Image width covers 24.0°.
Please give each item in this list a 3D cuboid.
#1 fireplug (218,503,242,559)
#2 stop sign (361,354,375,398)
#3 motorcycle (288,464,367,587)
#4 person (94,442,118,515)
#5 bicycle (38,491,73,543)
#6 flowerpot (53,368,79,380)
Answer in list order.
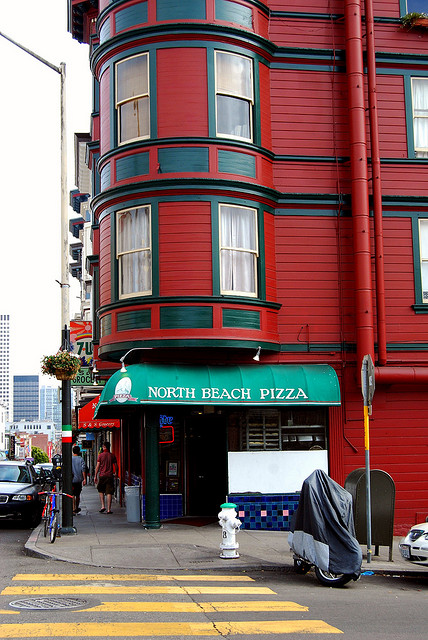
[{"bbox_3d":[0.232,3.071,14.580,0.297,0.795,0.210,-1,-7,4],"label":"fireplug"},{"bbox_3d":[2.322,0.844,15.114,0.173,0.668,0.394,4,13,-3],"label":"stop sign"},{"bbox_3d":[1.437,2.843,13.606,0.606,1.366,2.119,9,-6,-18],"label":"motorcycle"},{"bbox_3d":[-2.466,3.656,22.810,0.415,1.878,0.970,3,13,-7],"label":"person"},{"bbox_3d":[-2.628,3.379,16.870,0.417,0.863,1.827,3,14,-10],"label":"bicycle"},{"bbox_3d":[-2.690,0.963,17.709,0.206,0.174,0.231,3,-10,-18],"label":"flowerpot"}]
